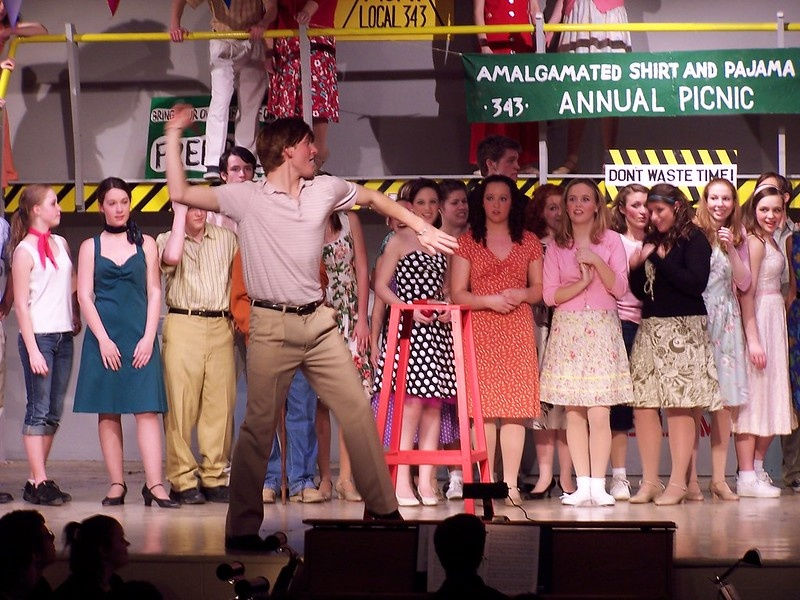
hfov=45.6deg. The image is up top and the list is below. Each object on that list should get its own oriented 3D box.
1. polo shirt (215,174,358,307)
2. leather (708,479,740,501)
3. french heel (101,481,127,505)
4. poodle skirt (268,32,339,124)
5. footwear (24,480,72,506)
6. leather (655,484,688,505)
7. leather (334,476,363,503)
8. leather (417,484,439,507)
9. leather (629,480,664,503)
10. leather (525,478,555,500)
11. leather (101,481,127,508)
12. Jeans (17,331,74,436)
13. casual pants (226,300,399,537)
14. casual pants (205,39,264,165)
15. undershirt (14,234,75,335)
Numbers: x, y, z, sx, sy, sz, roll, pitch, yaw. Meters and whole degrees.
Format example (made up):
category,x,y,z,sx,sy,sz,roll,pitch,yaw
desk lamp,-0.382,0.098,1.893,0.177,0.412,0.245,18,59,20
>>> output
category,x,y,z,sx,sy,sz,roll,pitch,yaw
polo shirt,-0.593,-0.306,5.210,0.705,0.644,0.246,1,-3,-13
leather,2.143,1.272,6.276,0.076,0.108,0.195,4,-3,-29
french heel,-1.816,1.262,6.097,0.073,0.120,0.242,-2,-12,8
poodle skirt,-0.724,-1.719,7.384,0.540,0.807,0.387,1,-14,-2
footwear,-2.290,1.247,6.124,0.255,0.111,0.157,-1,-3,28
leather,1.716,1.224,6.003,0.199,0.097,0.100,-9,-1,-35
leather,-0.345,1.250,6.225,0.080,0.123,0.237,3,-3,-34
leather,0.176,1.245,5.999,0.126,0.122,0.162,-1,2,4
leather,1.589,1.241,6.126,0.263,0.129,0.096,-12,1,-37
leather,0.914,1.261,6.289,0.268,0.150,0.089,4,-16,-40
leather,-1.827,1.268,6.134,0.073,0.121,0.241,-2,-11,8
Jeans,-2.331,0.560,6.284,0.333,0.673,0.264,-2,2,-24
casual pants,-0.502,0.592,4.985,0.875,1.204,0.413,-3,9,7
casual pants,-1.275,-1.514,7.401,0.486,0.994,0.388,-2,2,-13
undershirt,-2.342,-0.098,6.290,0.343,0.652,0.191,-3,2,-43
